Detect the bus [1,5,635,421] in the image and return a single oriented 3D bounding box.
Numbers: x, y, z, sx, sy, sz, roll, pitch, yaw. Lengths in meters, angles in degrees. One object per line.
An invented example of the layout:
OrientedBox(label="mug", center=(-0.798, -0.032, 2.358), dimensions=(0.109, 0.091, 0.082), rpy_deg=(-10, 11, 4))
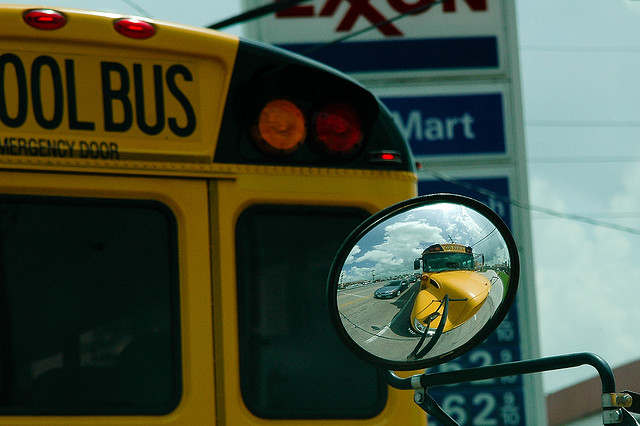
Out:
OrientedBox(label="bus", center=(-0.438, 0.095, 3.986), dimensions=(1.584, 3.056, 1.853), rpy_deg=(5, 84, -27))
